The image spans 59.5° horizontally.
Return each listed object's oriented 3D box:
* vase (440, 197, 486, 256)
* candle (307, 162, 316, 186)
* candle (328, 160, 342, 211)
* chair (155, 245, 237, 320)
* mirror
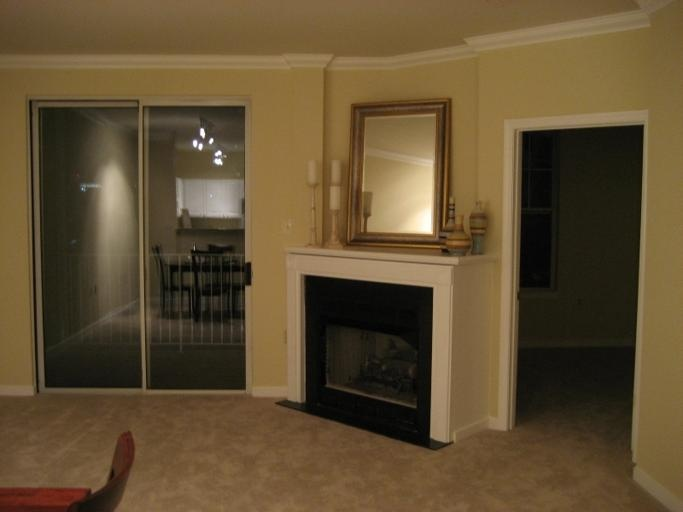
[{"bbox_3d":[1.008,-0.228,4.941,0.419,0.589,0.327,0,5,-9],"label":"vase"},{"bbox_3d":[-0.254,-0.726,5.298,0.083,0.211,0.046,0,11,-3],"label":"candle"},{"bbox_3d":[-0.052,-0.630,5.350,0.095,0.437,0.210,0,11,-1],"label":"candle"},{"bbox_3d":[-1.332,0.234,5.749,0.789,0.729,0.512,-2,9,-12],"label":"chair"},{"bbox_3d":[0.551,-0.719,5.266,1.169,1.720,0.125,2,2,22],"label":"mirror"}]
